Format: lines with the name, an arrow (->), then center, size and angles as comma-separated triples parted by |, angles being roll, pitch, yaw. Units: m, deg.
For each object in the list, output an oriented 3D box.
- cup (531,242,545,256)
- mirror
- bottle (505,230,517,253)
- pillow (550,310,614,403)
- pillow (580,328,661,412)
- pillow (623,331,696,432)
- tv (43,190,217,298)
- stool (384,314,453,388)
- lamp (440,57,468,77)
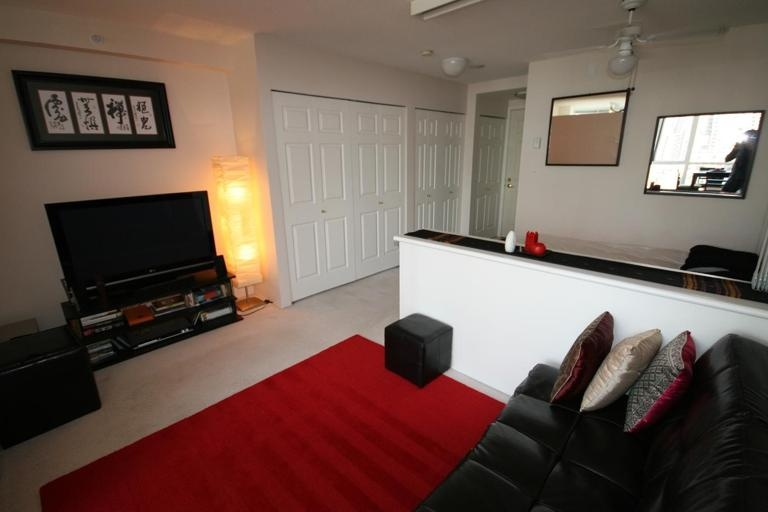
cup -> 1.285, -0.063, 3.921 | 0.096, 0.087, 0.096 | -4, 28, 2
mirror -> 3.262, -1.052, 4.768 | 0.866, 0.881, 0.030 | 11, 22, 30
bottle -> 1.062, -0.140, 4.001 | 0.095, 0.175, 0.235 | 3, 16, 15
pillow -> 1.533, 0.759, 3.642 | 0.362, 0.583, 0.764 | 5, 16, 39
pillow -> 1.797, 0.849, 3.561 | 0.417, 0.605, 0.784 | 4, 9, 40
pillow -> 1.842, 0.858, 3.170 | 0.306, 0.509, 0.565 | 8, 15, 39
tv -> -2.507, -0.125, 4.571 | 0.938, 0.674, 0.248 | -18, 31, -32
stool -> 0.293, 0.765, 4.347 | 0.550, 0.564, 0.572 | 21, 33, 40
lamp -> 0.723, -1.964, 4.956 | 0.237, 0.153, 0.237 | -1, 26, 2
